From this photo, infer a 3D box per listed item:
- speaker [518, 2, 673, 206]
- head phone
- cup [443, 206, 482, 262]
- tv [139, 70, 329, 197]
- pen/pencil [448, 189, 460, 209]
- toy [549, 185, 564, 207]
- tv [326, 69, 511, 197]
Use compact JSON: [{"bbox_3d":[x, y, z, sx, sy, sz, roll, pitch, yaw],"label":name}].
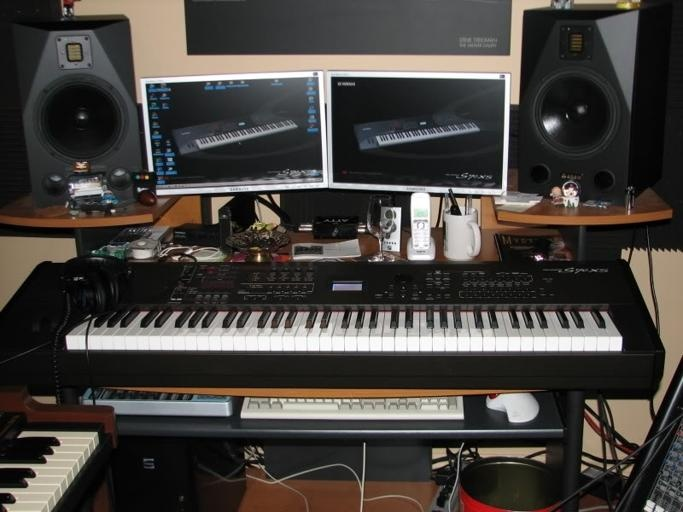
[{"bbox_3d":[1.014,-0.602,2.226,0.603,0.755,0.598,0,-29,13],"label":"speaker"},{"bbox_3d":[-0.796,0.086,1.904,0.202,0.187,0.182,0,11,25],"label":"head phone"},{"bbox_3d":[0.444,-0.071,2.093,0.131,0.187,0.199,-4,19,-9],"label":"cup"},{"bbox_3d":[-0.428,-0.488,2.252,0.569,0.345,0.010,-2,14,0],"label":"tv"},{"bbox_3d":[0.438,-0.221,2.207,0.017,0.081,0.029,-28,-12,35],"label":"pen/pencil"},{"bbox_3d":[0.842,-0.229,2.233,0.058,0.071,0.072,-3,18,4],"label":"toy"},{"bbox_3d":[0.314,-0.486,2.200,0.572,0.349,0.018,2,9,8],"label":"tv"}]
